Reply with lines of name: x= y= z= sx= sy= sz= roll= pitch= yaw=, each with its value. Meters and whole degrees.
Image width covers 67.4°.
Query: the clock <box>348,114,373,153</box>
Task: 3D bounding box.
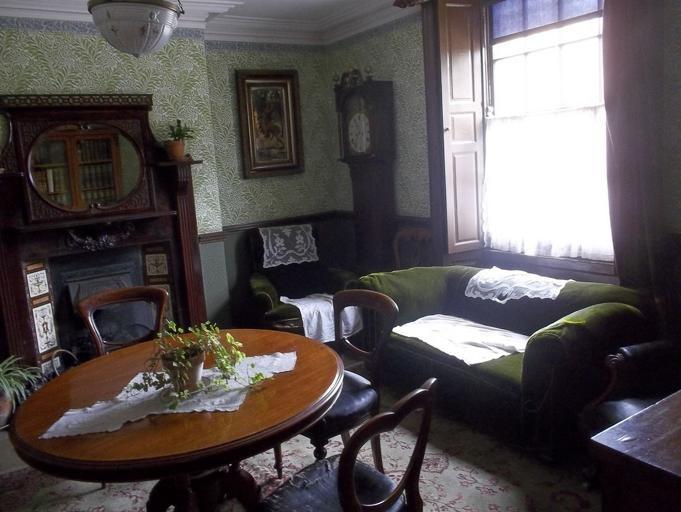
clock: x=0.195 y=-1.178 z=4.846 sx=0.048 sy=0.350 sz=0.349 roll=-8 pitch=15 yaw=-32

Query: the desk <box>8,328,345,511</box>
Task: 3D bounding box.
desk: x=-0.659 y=0.631 z=2.272 sx=0.977 sy=0.472 sz=0.977 roll=-6 pitch=23 yaw=2

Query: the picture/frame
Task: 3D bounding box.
picture/frame: x=-0.740 y=-1.338 z=5.122 sx=1.011 sy=1.378 sz=0.108 roll=-10 pitch=14 yaw=-34
